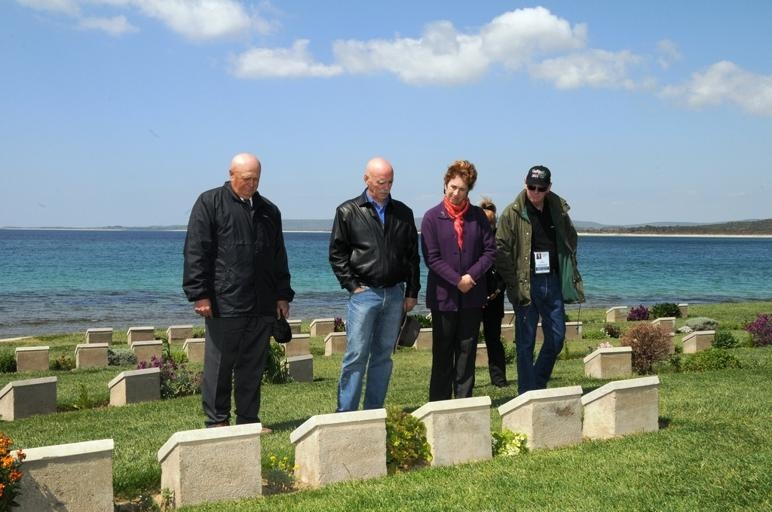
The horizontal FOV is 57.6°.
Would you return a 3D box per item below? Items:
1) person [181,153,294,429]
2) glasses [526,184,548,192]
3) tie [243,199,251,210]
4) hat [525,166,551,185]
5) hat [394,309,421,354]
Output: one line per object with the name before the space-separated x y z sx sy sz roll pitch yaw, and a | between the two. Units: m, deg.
person | -1.954 0.514 9.216 1.350 3.687 0.562 0 0 -15
glasses | 2.154 -0.955 9.963 0.269 0.085 0.109 0 0 1
tie | -1.824 -0.701 9.290 0.081 0.131 0.135 -2 -5 -15
hat | 2.147 -1.126 9.884 0.322 0.254 0.213 0 0 4
hat | 0.337 1.050 9.608 0.429 0.463 0.371 15 6 -16
